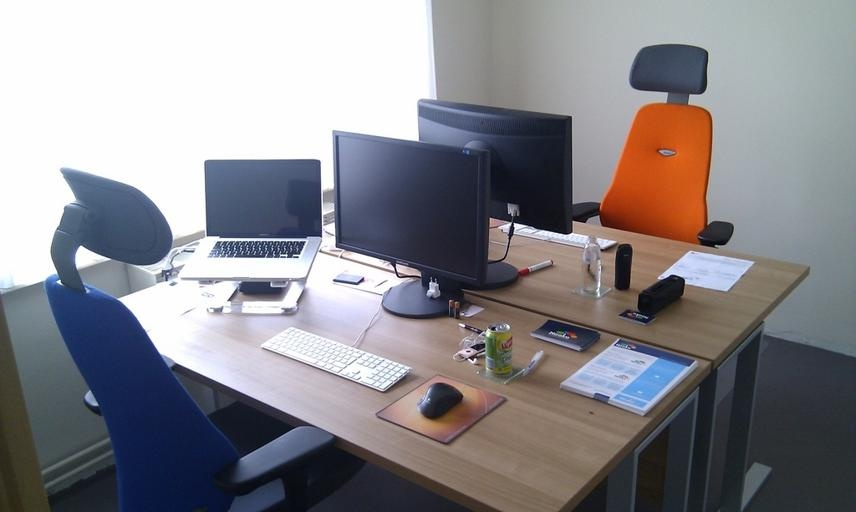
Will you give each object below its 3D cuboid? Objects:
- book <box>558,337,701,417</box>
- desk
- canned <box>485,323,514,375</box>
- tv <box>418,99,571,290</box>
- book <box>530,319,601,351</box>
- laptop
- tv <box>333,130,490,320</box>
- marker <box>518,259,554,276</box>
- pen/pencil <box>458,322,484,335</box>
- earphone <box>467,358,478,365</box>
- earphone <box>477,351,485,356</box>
[{"bbox_3d":[0.796,0.482,2.382,0.477,0.069,0.308,-23,35,-36],"label":"book"},{"bbox_3d":[0.310,0.429,2.589,1.935,0.982,1.598,14,24,37],"label":"desk"},{"bbox_3d":[0.277,0.370,2.417,0.116,0.183,0.153,-9,30,-14],"label":"canned"},{"bbox_3d":[0.299,-0.277,2.811,0.811,0.759,0.424,15,29,34],"label":"tv"},{"bbox_3d":[0.587,0.341,2.566,0.188,0.031,0.138,16,28,39],"label":"book"},{"bbox_3d":[-0.858,-0.196,3.158,0.808,0.566,0.543,-2,34,-4],"label":"laptop"},{"bbox_3d":[-0.072,-0.135,2.732,0.757,0.651,0.388,15,24,34],"label":"tv"},{"bbox_3d":[0.547,0.064,3.059,0.177,0.028,0.032,-19,17,-38],"label":"marker"},{"bbox_3d":[0.185,0.323,2.641,0.110,0.015,0.015,16,61,34],"label":"pen/pencil"},{"bbox_3d":[0.185,0.436,2.469,0.023,0.016,0.029,-21,24,-40],"label":"earphone"},{"bbox_3d":[0.213,0.406,2.499,0.032,0.013,0.025,-2,28,-2],"label":"earphone"}]
